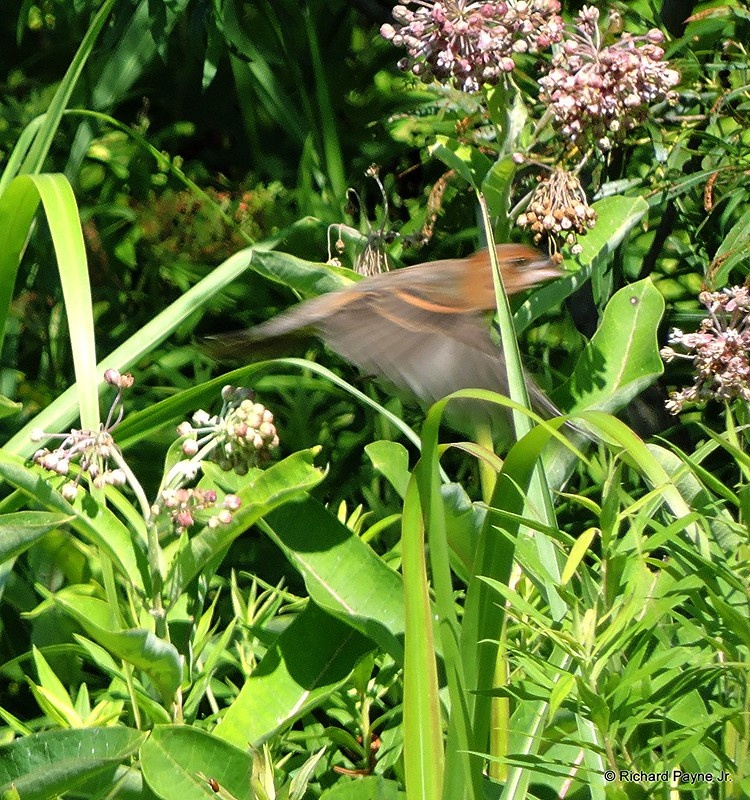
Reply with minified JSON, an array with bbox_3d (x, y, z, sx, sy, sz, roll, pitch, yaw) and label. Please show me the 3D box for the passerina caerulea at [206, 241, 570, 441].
[{"bbox_3d":[0.020,-0.052,0.789,0.174,0.080,0.149,26,-8,-2],"label":"passerina caerulea"}]
